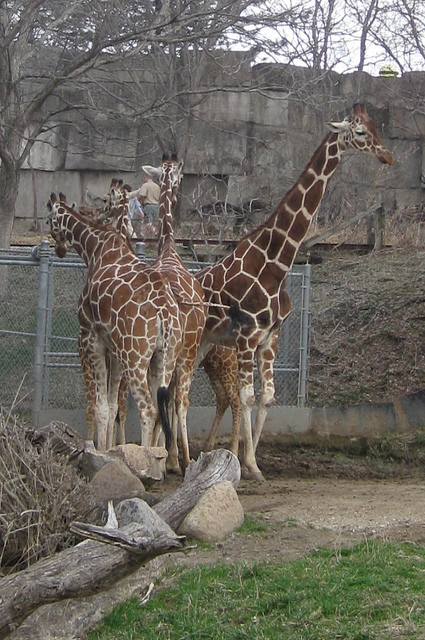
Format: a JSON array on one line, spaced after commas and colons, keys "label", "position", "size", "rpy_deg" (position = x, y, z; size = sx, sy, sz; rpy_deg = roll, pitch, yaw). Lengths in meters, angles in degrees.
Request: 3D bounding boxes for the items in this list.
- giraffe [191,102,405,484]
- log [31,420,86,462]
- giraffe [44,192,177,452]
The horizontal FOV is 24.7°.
[{"label": "giraffe", "position": [0.605, -0.268, 9.139], "size": [1.638, 3.511, 0.822], "rpy_deg": [1, -2, 8]}, {"label": "log", "position": [-1.122, 0.878, 7.090], "size": [0.225, 0.259, 0.310], "rpy_deg": [-31, 17, -5]}, {"label": "giraffe", "position": [-0.861, 0.062, 8.612], "size": [0.612, 2.145, 1.691], "rpy_deg": [2, -1, -25]}]
